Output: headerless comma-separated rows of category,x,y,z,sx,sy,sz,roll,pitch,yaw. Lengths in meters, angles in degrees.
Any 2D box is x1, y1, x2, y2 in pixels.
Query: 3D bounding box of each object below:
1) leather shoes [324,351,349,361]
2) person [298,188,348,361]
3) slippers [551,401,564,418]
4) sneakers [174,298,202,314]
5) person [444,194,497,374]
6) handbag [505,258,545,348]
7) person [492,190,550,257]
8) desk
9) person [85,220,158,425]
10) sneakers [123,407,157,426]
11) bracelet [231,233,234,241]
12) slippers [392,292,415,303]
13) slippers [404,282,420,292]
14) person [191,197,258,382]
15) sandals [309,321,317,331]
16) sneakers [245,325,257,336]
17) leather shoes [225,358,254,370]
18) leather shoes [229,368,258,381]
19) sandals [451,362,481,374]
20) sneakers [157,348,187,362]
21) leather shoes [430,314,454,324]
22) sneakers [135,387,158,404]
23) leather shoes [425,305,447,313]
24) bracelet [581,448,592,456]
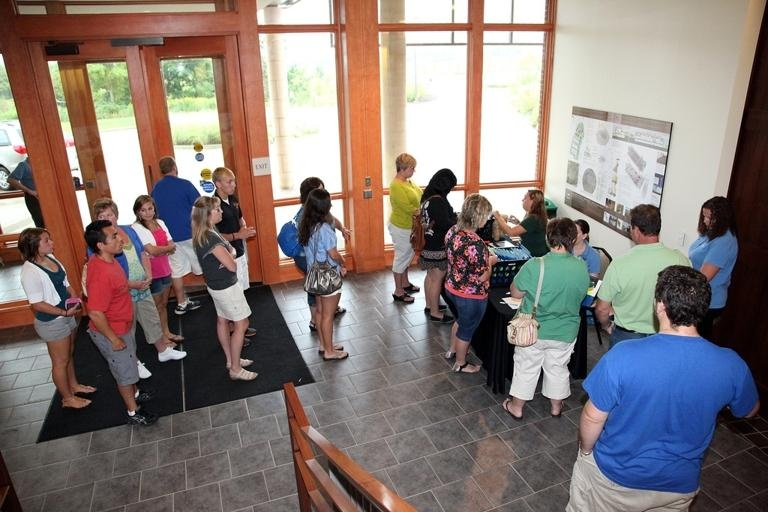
leather shoes,-0.648,1.334,6.123,0.246,0.066,0.141,-2,21,-3
person,-0.739,0.292,5.766,0.502,2.294,0.425,-6,18,-4
slippers,1.977,1.699,5.215,0.098,0.105,0.271,-1,56,23
sneakers,-3.149,0.790,7.243,0.482,0.217,0.165,-12,24,-33
person,0.988,0.430,5.401,0.514,2.283,0.327,0,19,13
handbag,1.457,0.520,4.704,0.335,0.991,0.256,2,19,18
person,1.958,-0.461,6.572,0.678,1.205,0.554,22,46,29
desk,1.550,0.427,5.489,1.453,1.112,2.245,-11,29,-13
person,-3.016,0.775,5.277,0.836,2.605,0.944,-3,41,-22
sneakers,-2.767,1.851,5.252,0.332,0.157,0.158,1,23,-4
bracelet,-2.116,-0.264,6.425,0.074,0.072,0.072,-12,28,-24
slippers,0.305,0.662,7.341,0.272,0.100,0.142,0,20,11
slippers,0.467,0.521,7.598,0.278,0.110,0.110,5,29,11
person,-2.117,0.483,6.028,0.886,2.930,0.894,-11,42,-27
sandals,-1.048,1.027,6.662,0.094,0.104,0.271,-1,7,-17
sneakers,-1.925,1.094,6.657,0.235,0.164,0.080,-3,16,-8
leather shoes,-1.895,1.402,5.991,0.372,0.152,0.146,-6,23,-15
leather shoes,-1.792,1.514,5.850,0.310,0.122,0.149,-2,16,-4
sandals,1.060,1.415,5.829,0.317,0.122,0.145,-4,24,0
sneakers,-2.841,1.321,6.231,0.412,0.188,0.150,-3,14,-15
leather shoes,0.874,0.931,6.787,0.311,0.081,0.122,-1,14,5
sneakers,-2.926,1.706,5.581,0.319,0.135,0.125,4,24,9
leather shoes,0.807,0.820,7.032,0.358,0.140,0.127,-6,23,-8
bracelet,1.541,1.492,3.497,0.079,0.022,0.079,-3,3,2
